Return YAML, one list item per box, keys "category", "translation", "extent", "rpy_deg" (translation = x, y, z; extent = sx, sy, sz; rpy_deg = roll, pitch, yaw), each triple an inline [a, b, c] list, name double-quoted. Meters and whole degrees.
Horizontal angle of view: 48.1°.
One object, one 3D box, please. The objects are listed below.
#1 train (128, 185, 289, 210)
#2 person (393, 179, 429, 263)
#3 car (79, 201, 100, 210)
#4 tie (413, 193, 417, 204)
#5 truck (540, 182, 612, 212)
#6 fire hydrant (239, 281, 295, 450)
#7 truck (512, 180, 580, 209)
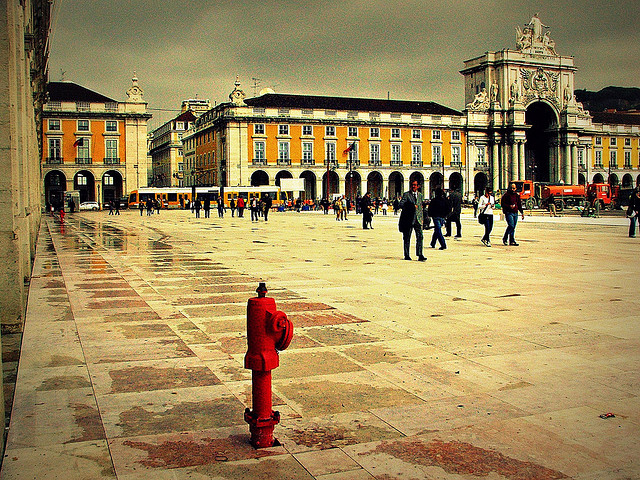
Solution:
- category: "train"
  translation: [-12.732, -4.598, 80.589]
  extent: [16.569, 3.323, 6.592]
  rpy_deg: [1, 11, 6]
- category: "person"
  translation: [2.327, -0.459, 17.524]
  extent: [0.794, 2.037, 0.958]
  rpy_deg: [0, 1, -23]
- category: "car"
  translation: [-25.444, -3.778, 79.675]
  extent: [2.050, 0.938, 1.230]
  rpy_deg: [7, -4, -25]
- category: "tie"
  translation: [2.285, -0.987, 17.198]
  extent: [0.083, 0.193, 0.058]
  rpy_deg: [3, 11, 17]
- category: "truck"
  translation: [23.971, -3.955, 67.472]
  extent: [8.040, 2.927, 3.191]
  rpy_deg: [-2, 5, -8]
- category: "fire hydrant"
  translation: [-0.448, 1.096, 6.221]
  extent: [0.404, 1.431, 0.262]
  rpy_deg: [1, 10, 3]
- category: "truck"
  translation: [22.565, -4.371, 71.162]
  extent: [6.738, 2.471, 2.120]
  rpy_deg: [0, 5, -14]
